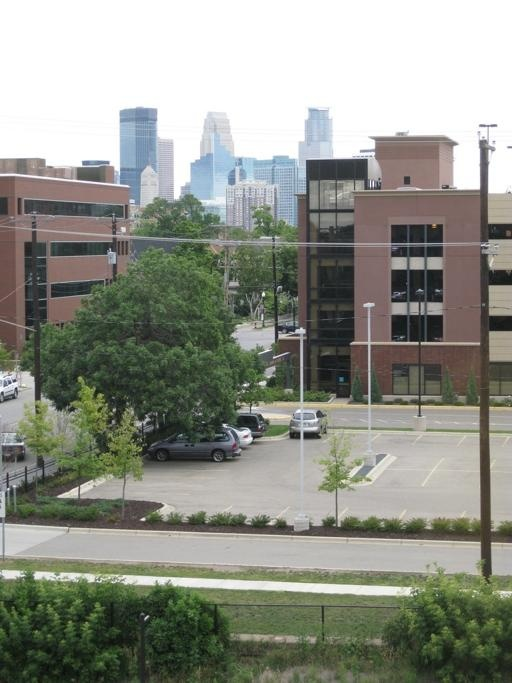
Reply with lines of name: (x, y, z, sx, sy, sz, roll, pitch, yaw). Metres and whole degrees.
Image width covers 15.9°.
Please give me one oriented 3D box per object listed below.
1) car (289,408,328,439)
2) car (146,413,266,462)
car: (1.946, 2.997, 69.606, 0.818, 0.807, 1.970, 1, 5, 9)
car: (-2.113, 3.256, 63.656, 2.811, 1.229, 1.416, 0, 1, 6)
